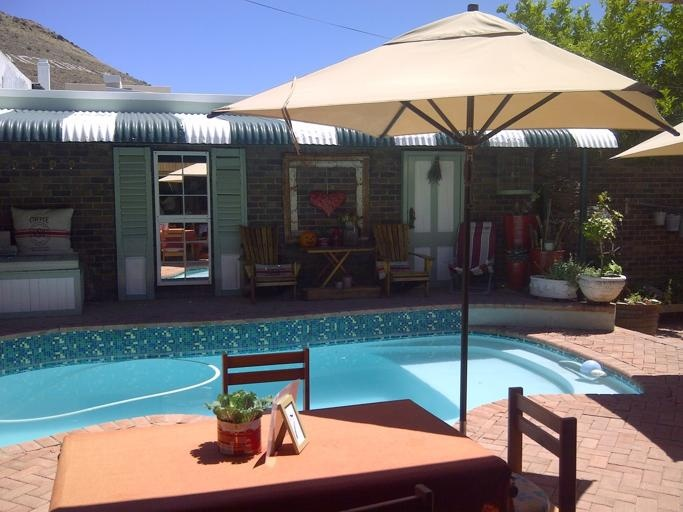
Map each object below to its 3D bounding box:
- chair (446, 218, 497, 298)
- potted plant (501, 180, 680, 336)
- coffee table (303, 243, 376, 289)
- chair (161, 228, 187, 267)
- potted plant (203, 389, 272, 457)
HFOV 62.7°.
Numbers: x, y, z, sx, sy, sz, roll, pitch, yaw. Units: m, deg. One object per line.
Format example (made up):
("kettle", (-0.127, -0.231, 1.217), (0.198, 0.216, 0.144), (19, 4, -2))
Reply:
("chair", (2.749, 0.053, 11.206), (1.058, 1.353, 1.426), (3, 36, 15))
("potted plant", (4.553, 0.151, 11.038), (2.187, 2.811, 3.208), (-1, 1, -26))
("coffee table", (-0.010, 0.019, 10.707), (1.328, 0.847, 0.728), (-2, 11, -10))
("chair", (-3.257, -0.141, 10.825), (0.533, 0.826, 0.860), (-2, 11, -11))
("potted plant", (-0.637, 0.975, 3.445), (0.327, 0.331, 0.377), (0, 3, 4))
